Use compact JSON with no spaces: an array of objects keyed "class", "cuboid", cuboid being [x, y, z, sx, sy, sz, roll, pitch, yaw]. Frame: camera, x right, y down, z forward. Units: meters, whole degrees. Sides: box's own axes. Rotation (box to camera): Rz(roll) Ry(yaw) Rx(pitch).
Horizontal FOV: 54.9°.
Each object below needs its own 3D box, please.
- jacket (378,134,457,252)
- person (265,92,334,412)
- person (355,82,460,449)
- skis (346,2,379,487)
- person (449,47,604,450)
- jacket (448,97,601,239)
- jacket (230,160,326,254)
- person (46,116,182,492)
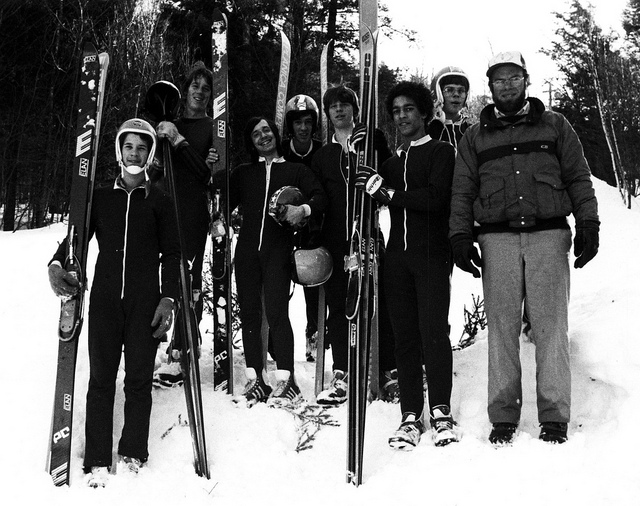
[{"class":"jacket","cuboid":[0.627,-0.398,4.044,0.505,0.778,0.355,-1,-1,15]},{"class":"person","cuboid":[-0.166,-0.137,5.072,0.512,2.449,1.548,-1,0,-2]},{"class":"person","cuboid":[0.573,0.017,4.080,0.642,2.361,0.612,-1,-1,13]},{"class":"skis","cuboid":[0.306,-0.223,3.994,0.225,3.270,0.265,3,-7,0]},{"class":"person","cuboid":[1.213,-0.044,3.717,0.842,2.361,0.385,-1,-1,17]},{"class":"jacket","cuboid":[1.247,-0.505,3.876,0.846,0.998,0.417,-4,-16,25]},{"class":"jacket","cuboid":[-0.349,-0.290,4.781,0.512,0.824,0.276,8,-3,16]},{"class":"person","cuboid":[-1.181,0.259,3.917,0.596,2.245,0.436,0,-1,-22]}]
